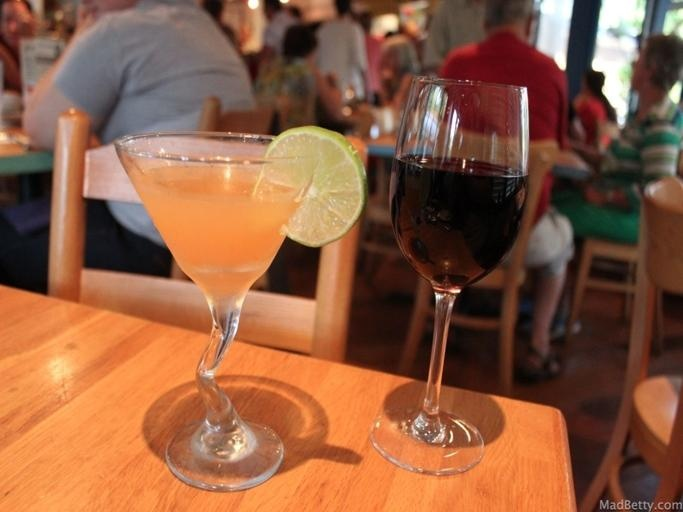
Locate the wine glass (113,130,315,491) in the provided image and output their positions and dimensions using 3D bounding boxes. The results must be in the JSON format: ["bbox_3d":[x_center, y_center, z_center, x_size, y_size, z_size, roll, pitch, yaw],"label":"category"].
[{"bbox_3d":[-0.128,0.056,0.610,0.200,0.326,0.169,-4,21,-9],"label":"wine glass"}]

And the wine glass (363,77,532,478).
[{"bbox_3d":[0.114,0.015,0.641,0.156,0.398,0.204,6,21,17],"label":"wine glass"}]

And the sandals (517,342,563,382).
[{"bbox_3d":[0.804,0.428,2.324,0.090,0.115,0.257,1,0,35],"label":"sandals"}]

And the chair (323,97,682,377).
[{"bbox_3d":[0.830,-0.257,3.281,0.893,1.485,1.097,6,63,7],"label":"chair"}]
